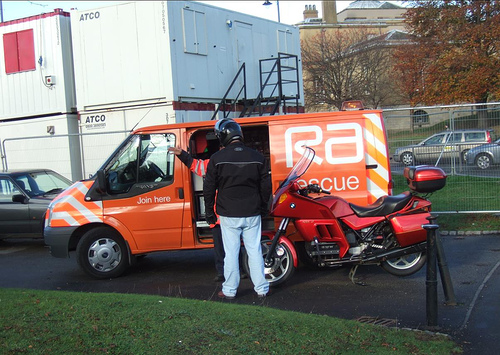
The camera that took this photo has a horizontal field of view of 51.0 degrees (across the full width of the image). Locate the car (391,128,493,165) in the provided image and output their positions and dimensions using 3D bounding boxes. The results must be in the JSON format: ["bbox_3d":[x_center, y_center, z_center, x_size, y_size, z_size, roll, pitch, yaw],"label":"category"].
[{"bbox_3d":[4.503,-0.708,12.284,2.052,0.774,0.992,0,3,3],"label":"car"}]

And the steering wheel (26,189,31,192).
[{"bbox_3d":[-5.277,0.319,12.439,0.096,0.058,0.082,-2,6,-25],"label":"steering wheel"}]
